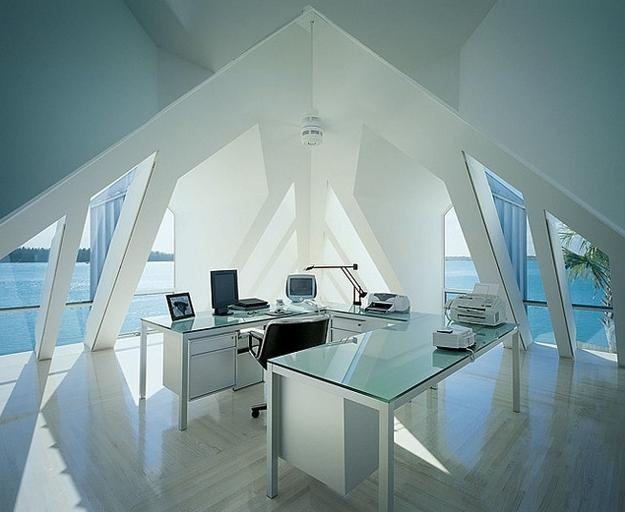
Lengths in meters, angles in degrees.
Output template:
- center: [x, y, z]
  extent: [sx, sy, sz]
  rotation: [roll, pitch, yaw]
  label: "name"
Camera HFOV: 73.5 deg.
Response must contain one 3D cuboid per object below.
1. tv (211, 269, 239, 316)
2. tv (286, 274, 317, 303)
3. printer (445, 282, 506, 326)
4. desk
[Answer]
- center: [-0.810, 0.340, 3.860]
  extent: [0.124, 0.392, 0.351]
  rotation: [-2, 0, 23]
  label: "tv"
- center: [-0.128, 0.352, 4.614]
  extent: [0.380, 0.431, 0.252]
  rotation: [0, -7, -6]
  label: "tv"
- center: [1.267, 0.374, 3.251]
  extent: [0.245, 0.322, 0.351]
  rotation: [-4, 3, -43]
  label: "printer"
- center: [0.537, 0.911, 2.548]
  extent: [1.567, 0.768, 0.843]
  rotation: [-2, 3, -45]
  label: "desk"
